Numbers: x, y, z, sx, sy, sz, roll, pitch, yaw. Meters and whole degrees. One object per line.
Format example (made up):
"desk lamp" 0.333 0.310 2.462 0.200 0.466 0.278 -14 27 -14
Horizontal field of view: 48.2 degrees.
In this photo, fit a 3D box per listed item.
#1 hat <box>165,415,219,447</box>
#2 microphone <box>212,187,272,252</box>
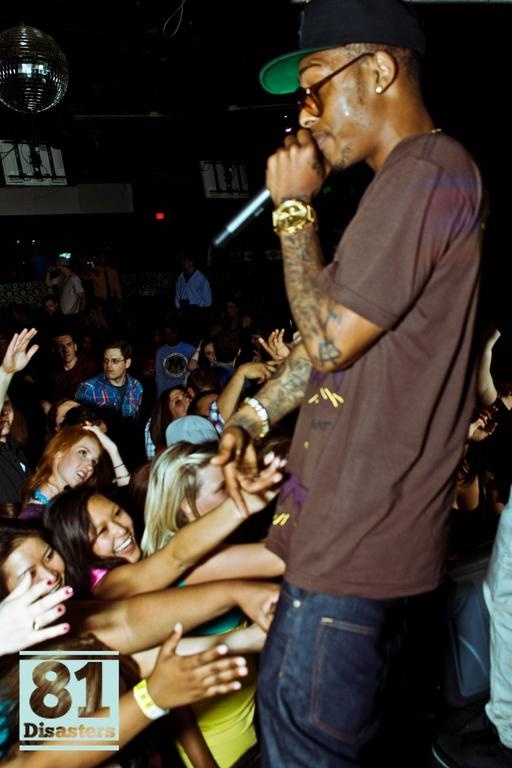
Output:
"hat" -0.329 0.247 3.032 0.226 0.160 0.120 -1 15 29
"microphone" -0.041 -0.397 1.466 0.049 0.052 0.294 -63 15 -20
